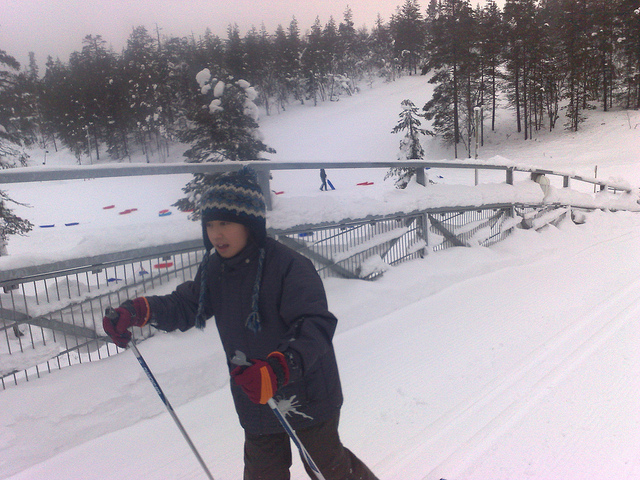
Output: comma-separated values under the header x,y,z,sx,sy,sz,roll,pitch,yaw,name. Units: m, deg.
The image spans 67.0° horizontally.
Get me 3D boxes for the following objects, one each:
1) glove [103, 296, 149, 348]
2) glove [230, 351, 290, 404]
x,y,z,sx,sy,sz,roll,pitch,yaw,name
-1.537,0.654,3.888,0.358,0.389,0.121,-34,12,-13,glove
-0.423,0.923,3.408,0.321,0.365,0.161,-53,31,3,glove
